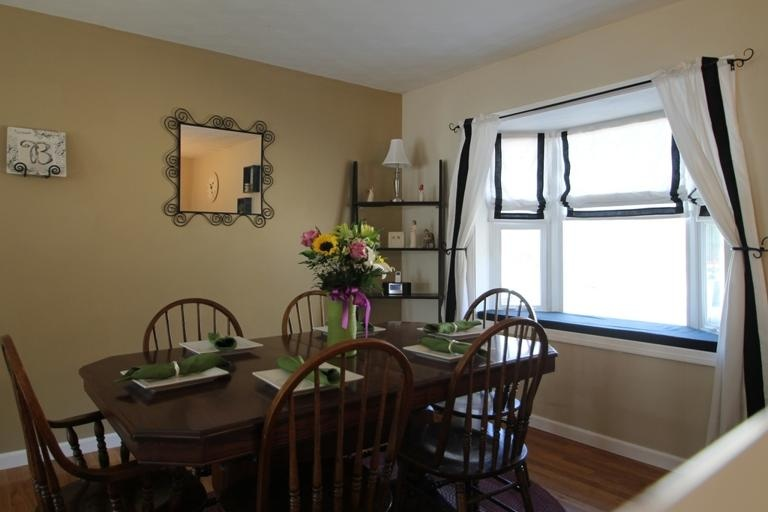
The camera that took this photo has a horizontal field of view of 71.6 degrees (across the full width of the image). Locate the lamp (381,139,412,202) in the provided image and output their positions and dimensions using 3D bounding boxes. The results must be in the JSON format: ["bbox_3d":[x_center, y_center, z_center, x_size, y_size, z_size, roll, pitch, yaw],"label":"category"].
[{"bbox_3d":[0.120,-0.845,5.293,0.326,0.598,0.324,-2,1,-5],"label":"lamp"}]

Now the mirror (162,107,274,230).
[{"bbox_3d":[-1.507,-0.780,4.686,1.102,1.166,0.075,-1,5,-34],"label":"mirror"}]

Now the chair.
[{"bbox_3d":[-0.656,0.848,3.085,2.532,0.910,1.394,-3,6,-35],"label":"chair"}]

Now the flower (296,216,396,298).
[{"bbox_3d":[-0.229,0.002,3.180,0.508,0.408,0.239,0,5,-7],"label":"flower"}]
